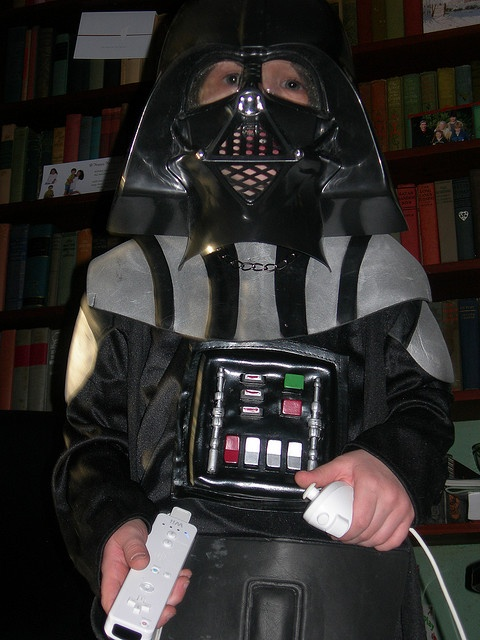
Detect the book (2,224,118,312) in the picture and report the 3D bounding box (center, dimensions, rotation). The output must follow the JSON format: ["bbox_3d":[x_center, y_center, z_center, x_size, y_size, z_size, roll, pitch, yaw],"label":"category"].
[{"bbox_3d":[-0.433,-0.118,1.324,0.221,0.121,0.207,2,62,8],"label":"book"}]
